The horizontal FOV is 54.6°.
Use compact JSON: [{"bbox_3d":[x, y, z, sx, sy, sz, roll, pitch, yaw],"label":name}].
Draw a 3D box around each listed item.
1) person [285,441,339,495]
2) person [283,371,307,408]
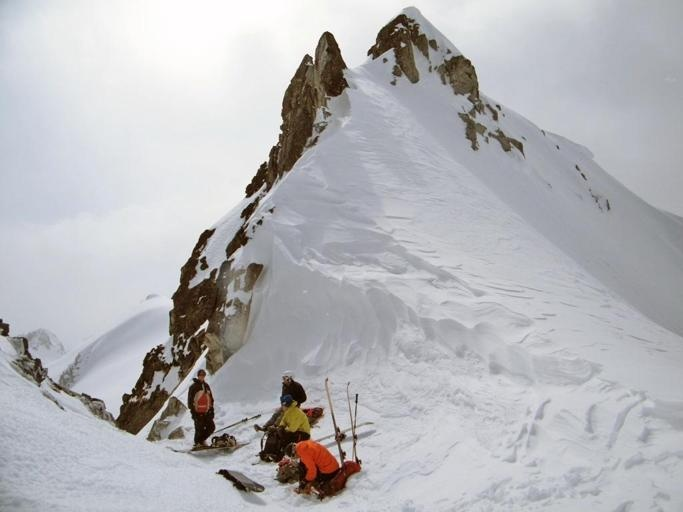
[{"bbox_3d":[-0.832,5.841,18.299,1.224,1.549,1.019,-1,9,2],"label":"person"},{"bbox_3d":[-1.521,4.245,21.000,1.015,1.118,0.575,-16,-7,43],"label":"person"}]
